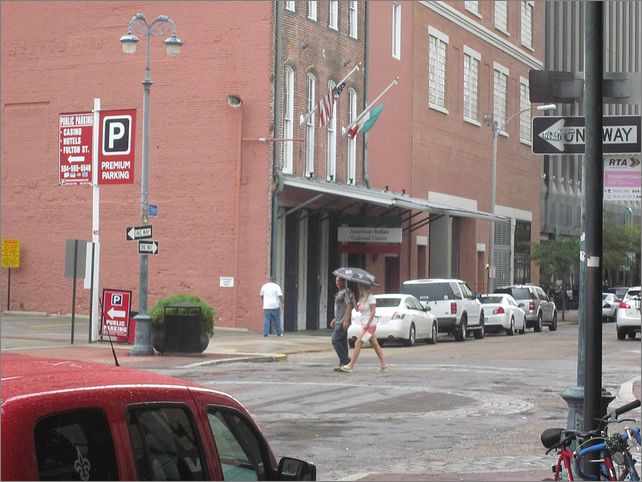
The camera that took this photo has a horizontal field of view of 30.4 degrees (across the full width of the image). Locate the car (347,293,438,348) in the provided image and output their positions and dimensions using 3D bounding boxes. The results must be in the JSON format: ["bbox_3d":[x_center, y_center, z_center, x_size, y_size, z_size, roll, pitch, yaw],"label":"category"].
[{"bbox_3d":[1.806,2.141,32.357,1.820,1.661,2.543,-2,-4,21],"label":"car"}]

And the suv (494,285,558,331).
[{"bbox_3d":[7.691,2.234,42.834,1.247,1.229,2.935,-1,2,21],"label":"suv"}]

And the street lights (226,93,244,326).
[{"bbox_3d":[-2.438,-0.899,35.063,0.315,6.703,0.783,1,-7,-30],"label":"street lights"}]

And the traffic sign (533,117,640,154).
[{"bbox_3d":[3.174,-1.330,14.193,1.315,0.647,0.349,-7,-8,31],"label":"traffic sign"}]

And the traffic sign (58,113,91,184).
[{"bbox_3d":[-6.478,-2.582,31.451,1.154,1.970,0.379,-5,-7,24],"label":"traffic sign"}]

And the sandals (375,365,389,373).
[{"bbox_3d":[1.234,2.559,24.008,0.178,0.136,0.108,2,1,18],"label":"sandals"}]

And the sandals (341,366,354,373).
[{"bbox_3d":[0.530,2.545,23.928,0.233,0.116,0.107,7,2,11],"label":"sandals"}]

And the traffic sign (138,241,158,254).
[{"bbox_3d":[-3.910,0.084,26.712,0.411,0.306,0.331,0,-7,-17],"label":"traffic sign"}]

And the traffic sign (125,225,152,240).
[{"bbox_3d":[-4.107,-0.249,26.672,0.549,0.333,0.377,-1,-7,-13],"label":"traffic sign"}]

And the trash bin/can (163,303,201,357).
[{"bbox_3d":[-3.149,1.958,26.758,0.893,1.133,0.390,-2,-6,-2],"label":"trash bin/can"}]

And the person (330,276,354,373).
[{"bbox_3d":[0.425,1.642,24.602,0.443,2.074,0.623,0,-3,-10],"label":"person"}]

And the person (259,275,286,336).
[{"bbox_3d":[-1.416,1.767,33.842,0.575,1.814,0.563,3,14,7],"label":"person"}]
